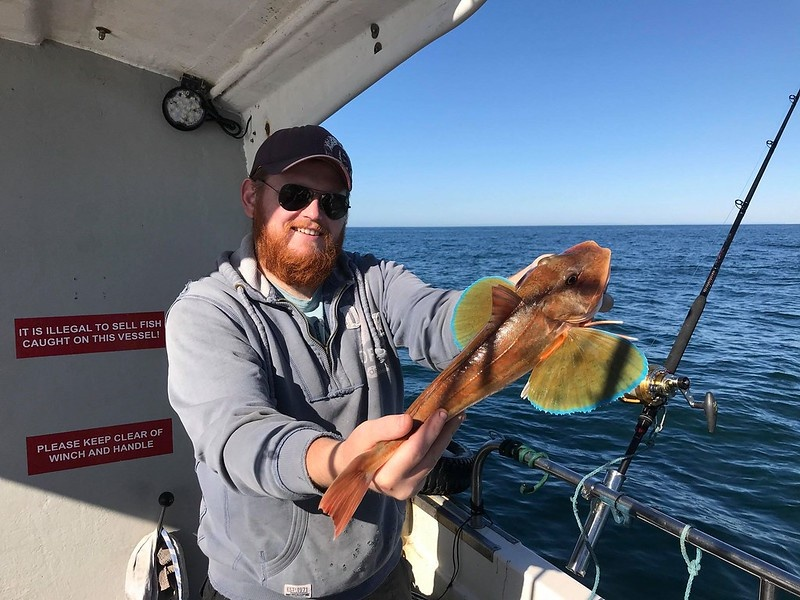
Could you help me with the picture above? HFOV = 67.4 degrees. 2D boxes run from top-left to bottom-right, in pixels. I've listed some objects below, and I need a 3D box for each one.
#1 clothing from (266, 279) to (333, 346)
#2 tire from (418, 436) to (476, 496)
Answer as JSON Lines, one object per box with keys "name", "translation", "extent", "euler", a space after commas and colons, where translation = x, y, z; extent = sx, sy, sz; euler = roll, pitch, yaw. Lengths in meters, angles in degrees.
{"name": "clothing", "translation": [-0.668, 0.130, 4.075], "extent": [0.328, 0.390, 0.197], "euler": [-29, -5, -41]}
{"name": "tire", "translation": [0.470, 1.621, 5.735], "extent": [0.557, 0.216, 0.603], "euler": [-3, 1, -6]}
